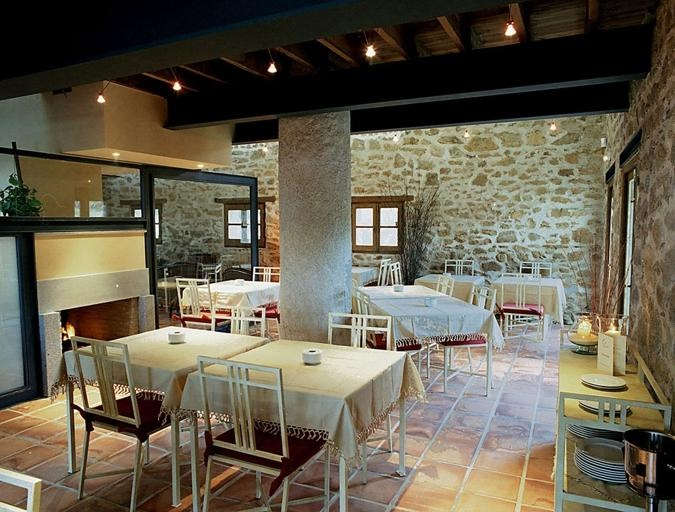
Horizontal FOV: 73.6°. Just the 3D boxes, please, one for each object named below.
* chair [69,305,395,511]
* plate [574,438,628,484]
[{"bbox_3d":[-1.222,1.026,3.653,1.306,0.765,1.314,-1,0,29],"label":"chair"},{"bbox_3d":[1.390,1.082,2.416,0.196,0.080,0.191,-1,1,-5],"label":"plate"}]
